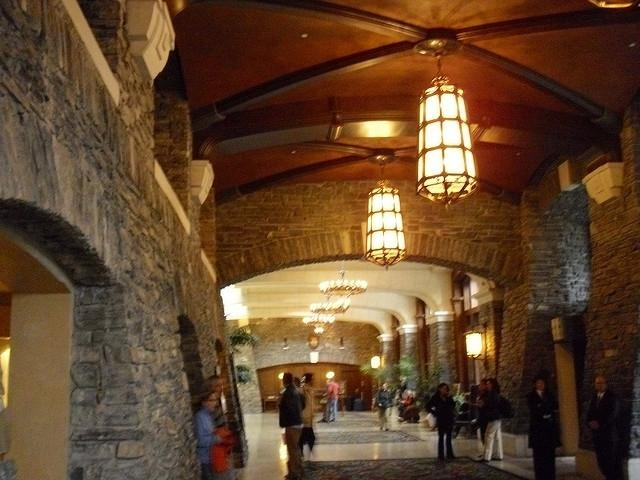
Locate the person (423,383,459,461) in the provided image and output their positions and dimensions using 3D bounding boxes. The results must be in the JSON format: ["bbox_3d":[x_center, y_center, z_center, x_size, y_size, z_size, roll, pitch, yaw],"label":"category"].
[{"bbox_3d":[2.387,3.491,10.764,0.515,1.371,1.323,-2,-17,11],"label":"person"}]

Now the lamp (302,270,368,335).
[{"bbox_3d":[0.510,2.276,20.280,1.374,0.948,3.762,9,-25,-12],"label":"lamp"}]

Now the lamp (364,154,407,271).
[{"bbox_3d":[1.014,-0.318,8.435,0.565,1.390,0.331,1,-17,3],"label":"lamp"}]

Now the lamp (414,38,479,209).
[{"bbox_3d":[1.261,-1.093,5.525,0.572,1.434,0.372,-1,-18,8],"label":"lamp"}]
